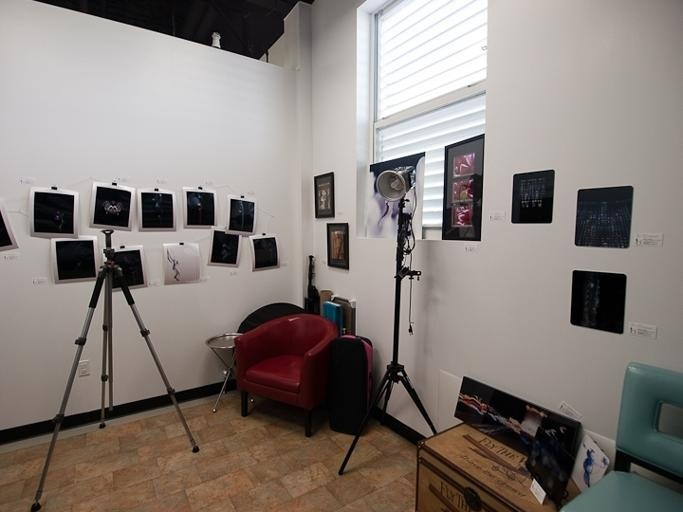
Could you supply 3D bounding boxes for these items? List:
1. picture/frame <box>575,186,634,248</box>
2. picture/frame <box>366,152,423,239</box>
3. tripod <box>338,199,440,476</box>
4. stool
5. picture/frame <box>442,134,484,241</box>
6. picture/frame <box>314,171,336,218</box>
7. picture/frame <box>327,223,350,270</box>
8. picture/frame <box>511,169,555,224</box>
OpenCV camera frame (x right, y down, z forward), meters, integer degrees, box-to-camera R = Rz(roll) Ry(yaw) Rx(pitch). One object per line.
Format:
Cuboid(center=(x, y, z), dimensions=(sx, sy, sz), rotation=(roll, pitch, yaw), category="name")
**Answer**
Cuboid(center=(1.635, -0.245, 2.979), dimensions=(0.015, 0.494, 0.330), rotation=(-2, 2, -40), category="picture/frame")
Cuboid(center=(0.461, -0.494, 4.064), dimensions=(0.033, 0.856, 0.704), rotation=(2, 1, -29), category="picture/frame")
Cuboid(center=(0.441, 0.588, 3.859), dimensions=(0.723, 2.108, 0.785), rotation=(3, 5, 19), category="tripod")
Cuboid(center=(-1.099, 1.115, 4.727), dimensions=(0.429, 0.660, 0.447), rotation=(-2, -3, -41), category="stool")
Cuboid(center=(0.915, -0.506, 3.647), dimensions=(0.054, 0.768, 0.378), rotation=(-3, 6, -37), category="picture/frame")
Cuboid(center=(-0.160, -0.627, 4.898), dimensions=(0.035, 0.582, 0.444), rotation=(0, 1, -31), category="picture/frame")
Cuboid(center=(-0.020, -0.103, 4.715), dimensions=(0.032, 0.527, 0.410), rotation=(0, 0, -29), category="picture/frame")
Cuboid(center=(1.297, -0.402, 3.245), dimensions=(0.045, 0.493, 0.325), rotation=(3, -1, -38), category="picture/frame")
